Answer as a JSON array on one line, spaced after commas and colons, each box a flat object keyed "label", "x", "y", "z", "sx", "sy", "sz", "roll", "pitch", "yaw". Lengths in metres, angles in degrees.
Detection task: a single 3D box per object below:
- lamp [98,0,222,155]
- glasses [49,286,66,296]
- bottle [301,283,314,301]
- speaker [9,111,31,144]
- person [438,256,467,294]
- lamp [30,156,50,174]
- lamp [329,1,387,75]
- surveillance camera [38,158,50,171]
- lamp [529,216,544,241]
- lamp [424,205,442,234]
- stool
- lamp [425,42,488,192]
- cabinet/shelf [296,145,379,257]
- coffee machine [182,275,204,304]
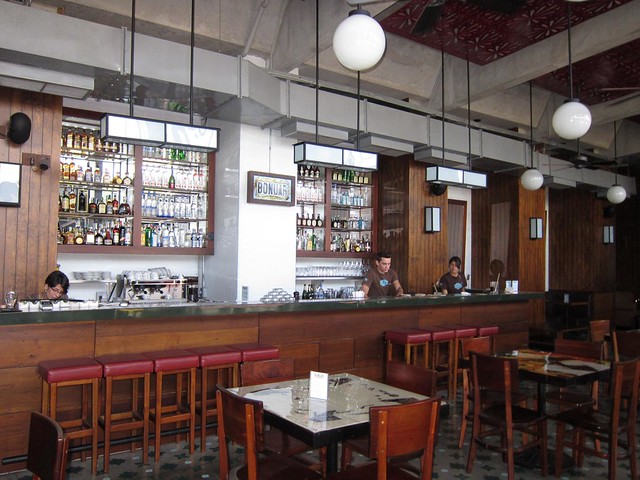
[{"label": "lamp", "x": -1.797, "y": -1.902, "z": 5.886, "sx": 1.263, "sy": 1.742, "sz": 0.504, "roll": 0, "pitch": -1, "yaw": -24}, {"label": "glasses", "x": -3.005, "y": 0.578, "z": 5.925, "sx": 0.105, "sy": 0.118, "sz": 0.069, "roll": 1, "pitch": 16, "yaw": -41}, {"label": "bottle", "x": -0.215, "y": 0.896, "z": 8.942, "sx": 0.191, "sy": 0.498, "sz": 0.188, "roll": 0, "pitch": -5, "yaw": 0}, {"label": "speaker", "x": -3.701, "y": -1.384, "z": 6.401, "sx": 0.102, "sy": 0.368, "sz": 0.257, "roll": 5, "pitch": 2, "yaw": 34}, {"label": "person", "x": 2.372, "y": 0.637, "z": 9.356, "sx": 0.544, "sy": 1.026, "sz": 0.369, "roll": -1, "pitch": -15, "yaw": 15}, {"label": "lamp", "x": -3.580, "y": -0.968, "z": 6.615, "sx": 0.224, "sy": 0.222, "sz": 0.122, "roll": 2, "pitch": -4, "yaw": -30}, {"label": "lamp", "x": 0.286, "y": -1.841, "z": 4.846, "sx": 0.523, "sy": 0.625, "sz": 0.506, "roll": 0, "pitch": 1, "yaw": -3}, {"label": "surveillance camera", "x": -3.512, "y": -0.956, "z": 6.633, "sx": 0.076, "sy": 0.154, "sz": 0.212, "roll": 30, "pitch": -24, "yaw": -29}, {"label": "lamp", "x": 4.786, "y": -0.263, "z": 11.493, "sx": 0.179, "sy": 0.558, "sz": 0.547, "roll": -2, "pitch": -2, "yaw": 42}, {"label": "lamp", "x": 2.121, "y": -0.381, "z": 9.727, "sx": 0.335, "sy": 0.516, "sz": 0.198, "roll": 0, "pitch": -1, "yaw": -40}, {"label": "stool", "x": -1.848, "y": 1.691, "z": 5.160, "sx": 1.257, "sy": 0.655, "sz": 0.319, "roll": 1, "pitch": 1, "yaw": -36}, {"label": "lamp", "x": 2.267, "y": -2.032, "z": 8.573, "sx": 0.888, "sy": 2.371, "sz": 1.854, "roll": -1, "pitch": -1, "yaw": 18}, {"label": "cabinet/shelf", "x": 0.250, "y": -0.630, "z": 8.960, "sx": 1.930, "sy": 2.228, "sz": 0.633, "roll": 2, "pitch": -3, "yaw": -36}, {"label": "coffee machine", "x": -2.104, "y": 0.786, "z": 8.371, "sx": 0.296, "sy": 0.391, "sz": 0.577, "roll": -1, "pitch": -1, "yaw": 9}]
